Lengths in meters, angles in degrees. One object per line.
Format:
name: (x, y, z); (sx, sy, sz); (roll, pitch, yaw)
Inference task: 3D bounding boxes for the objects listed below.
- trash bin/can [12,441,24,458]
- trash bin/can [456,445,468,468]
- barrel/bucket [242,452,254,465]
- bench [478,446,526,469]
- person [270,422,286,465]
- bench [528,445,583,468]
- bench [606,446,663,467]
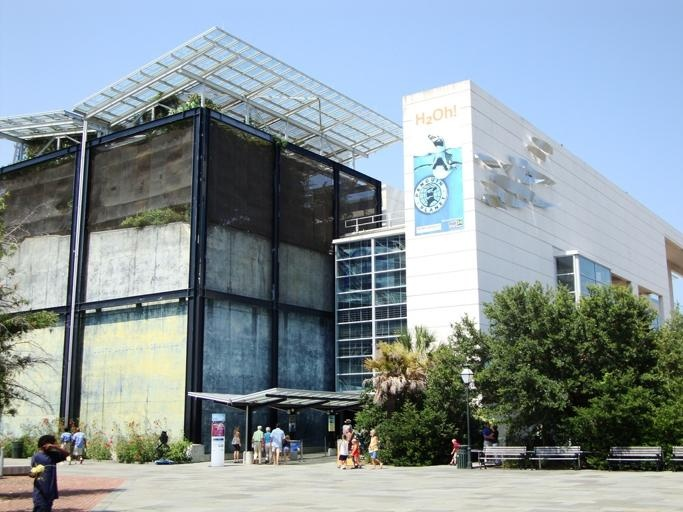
trash bin/can: (-19.814, 11.804, 43.713); (0.581, 1.020, 1.970); (7, -18, -23)
trash bin/can: (5.906, 9.763, 34.738); (0.679, 1.083, 1.175); (-2, -17, 7)
barrel/bucket: (-5.171, 11.340, 40.236); (0.749, 0.820, 0.736); (-1, -9, 0)
bench: (7.803, 9.754, 34.689); (2.218, 0.990, 3.516); (-1, -17, 1)
person: (-3.497, 10.400, 39.517); (0.779, 2.083, 0.628); (-1, -16, 12)
bench: (10.196, 9.532, 33.801); (2.414, 1.009, 3.456); (-3, -17, 9)
bench: (12.962, 8.916, 31.627); (2.251, 0.948, 1.523); (-7, -18, 21)
